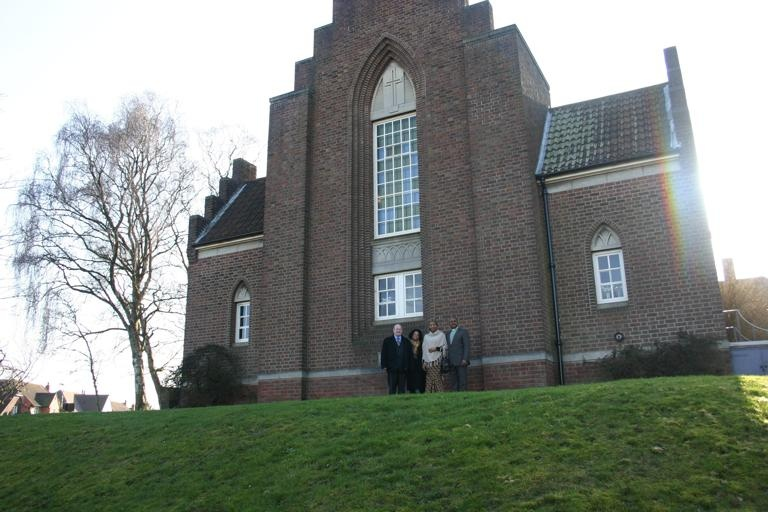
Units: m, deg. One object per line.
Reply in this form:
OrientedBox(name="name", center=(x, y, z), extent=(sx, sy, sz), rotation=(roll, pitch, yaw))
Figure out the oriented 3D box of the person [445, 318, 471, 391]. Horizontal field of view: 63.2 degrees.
OrientedBox(name="person", center=(2.289, 3.155, 19.450), extent=(0.744, 1.925, 1.350), rotation=(-7, 10, 7))
